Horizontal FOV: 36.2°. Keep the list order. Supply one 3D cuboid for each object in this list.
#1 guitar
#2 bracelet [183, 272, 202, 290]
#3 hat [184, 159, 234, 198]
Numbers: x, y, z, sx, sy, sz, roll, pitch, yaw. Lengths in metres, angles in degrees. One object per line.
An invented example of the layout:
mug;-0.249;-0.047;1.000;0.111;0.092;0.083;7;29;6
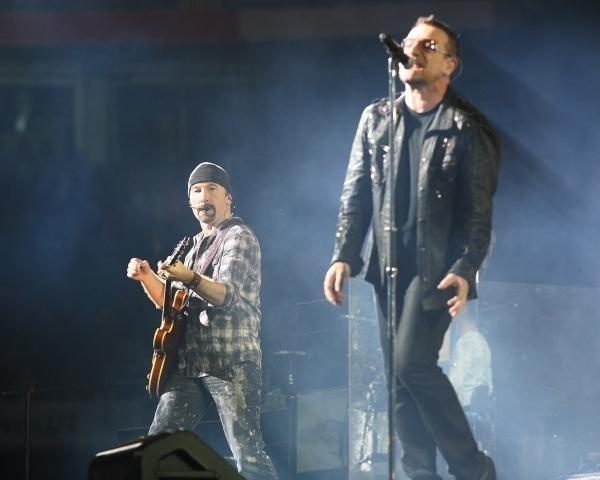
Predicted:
guitar;-0.838;0.624;5.869;0.256;0.724;0.192;-2;-3;1
bracelet;-0.670;0.257;5.709;0.101;0.101;0.068;-2;-3;5
hat;-0.585;-0.449;6.281;0.293;0.209;0.288;-12;13;-20
